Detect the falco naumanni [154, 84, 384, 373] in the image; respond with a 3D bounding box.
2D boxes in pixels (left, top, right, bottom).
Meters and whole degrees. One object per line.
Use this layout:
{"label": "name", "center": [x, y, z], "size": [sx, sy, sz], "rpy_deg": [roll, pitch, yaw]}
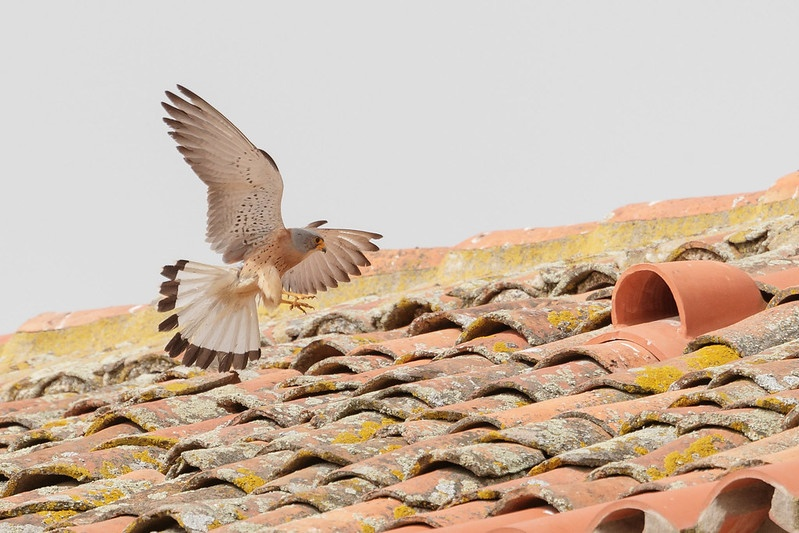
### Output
{"label": "falco naumanni", "center": [-1.506, 0.062, 16.351], "size": [1.953, 1.495, 2.836], "rpy_deg": [-27, -50, 24]}
